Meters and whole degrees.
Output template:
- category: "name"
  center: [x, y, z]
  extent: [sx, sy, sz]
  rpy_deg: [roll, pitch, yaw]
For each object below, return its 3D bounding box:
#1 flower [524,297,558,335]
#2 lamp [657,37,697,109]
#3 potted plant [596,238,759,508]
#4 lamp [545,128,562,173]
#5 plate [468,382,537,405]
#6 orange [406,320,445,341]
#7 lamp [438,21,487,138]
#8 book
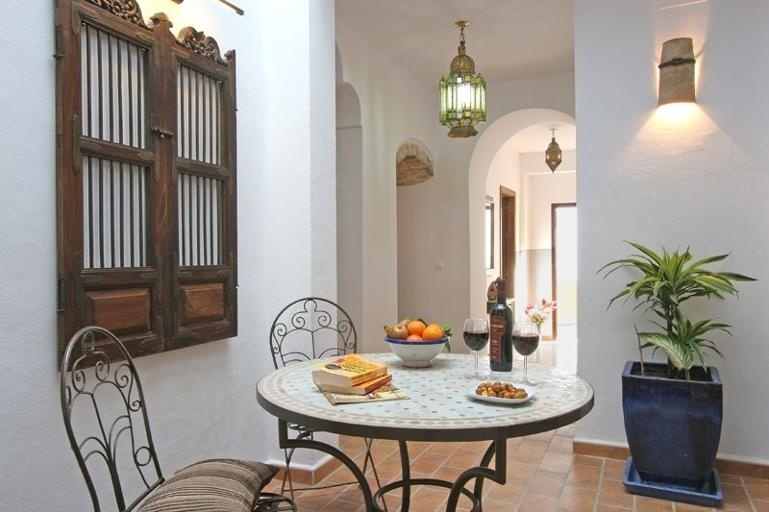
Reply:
- category: "flower"
  center: [0.778, 0.325, 2.767]
  extent: [0.137, 0.132, 0.157]
  rpy_deg: [-1, -25, 6]
- category: "lamp"
  center: [2.026, -1.272, 3.747]
  extent: [0.248, 0.447, 0.189]
  rpy_deg: [4, 10, 17]
- category: "potted plant"
  center: [1.885, 0.712, 3.625]
  extent: [0.830, 1.541, 0.764]
  rpy_deg: [5, 10, 22]
- category: "lamp"
  center: [2.297, -1.447, 7.370]
  extent: [0.192, 0.575, 0.191]
  rpy_deg: [2, 10, 41]
- category: "plate"
  center: [0.504, 0.585, 2.343]
  extent: [0.290, 0.074, 0.146]
  rpy_deg: [2, 9, 4]
- category: "orange"
  center: [0.222, 0.383, 2.765]
  extent: [0.149, 0.070, 0.103]
  rpy_deg: [11, -9, -20]
- category: "lamp"
  center: [0.700, -1.592, 4.845]
  extent: [0.397, 0.961, 0.410]
  rpy_deg: [0, 9, 15]
- category: "book"
  center: [-0.116, 0.526, 2.437]
  extent: [0.263, 0.081, 0.202]
  rpy_deg: [-2, 5, -34]
